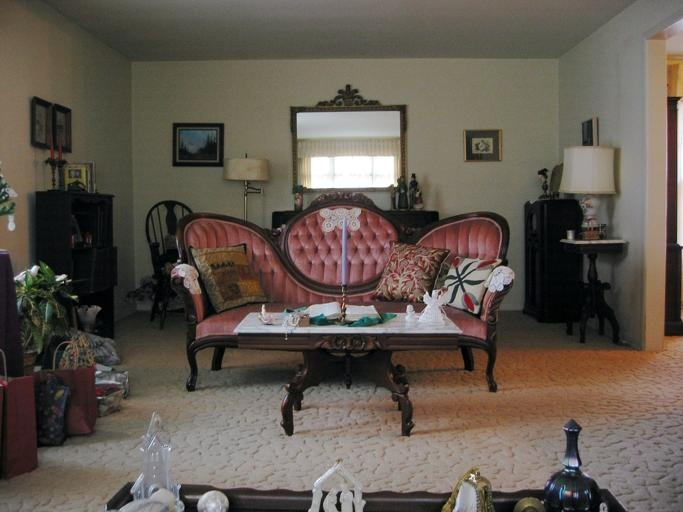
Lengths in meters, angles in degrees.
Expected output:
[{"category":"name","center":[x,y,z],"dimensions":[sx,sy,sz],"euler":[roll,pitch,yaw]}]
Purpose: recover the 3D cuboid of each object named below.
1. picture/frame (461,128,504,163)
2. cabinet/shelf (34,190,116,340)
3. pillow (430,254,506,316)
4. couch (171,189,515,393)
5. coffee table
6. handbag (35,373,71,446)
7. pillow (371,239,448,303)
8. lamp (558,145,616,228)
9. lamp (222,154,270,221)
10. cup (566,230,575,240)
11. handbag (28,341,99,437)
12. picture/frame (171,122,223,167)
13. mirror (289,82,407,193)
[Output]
[{"category":"picture/frame","center":[1.569,-1.245,6.259],"dimensions":[0.367,0.314,0.036],"euler":[0,0,-2]},{"category":"cabinet/shelf","center":[-2.261,-0.130,4.765],"dimensions":[0.432,0.858,0.684],"euler":[-2,8,9]},{"category":"pillow","center":[0.880,0.171,3.969],"dimensions":[0.132,0.409,0.430],"euler":[24,-4,-35]},{"category":"couch","center":[-0.004,0.202,4.142],"dimensions":[2.385,1.308,0.889],"euler":[0,9,-4]},{"category":"coffee table","center":[0.047,0.729,3.522],"dimensions":[1.279,0.607,0.576],"euler":[0,1,-1]},{"category":"handbag","center":[-1.608,0.854,3.147],"dimensions":[0.184,0.381,0.096],"euler":[-4,8,-8]},{"category":"pillow","center":[0.498,0.128,4.217],"dimensions":[0.589,0.618,0.150],"euler":[-20,-40,15]},{"category":"lamp","center":[2.235,-0.627,5.024],"dimensions":[0.547,0.703,0.326],"euler":[-6,8,-21]},{"category":"lamp","center":[-1.016,-0.631,5.992],"dimensions":[0.481,0.782,0.499],"euler":[1,-2,-28]},{"category":"cup","center":[2.107,-0.188,5.129],"dimensions":[0.092,0.092,0.093],"euler":[-1,0,0]},{"category":"handbag","center":[-1.571,0.749,3.222],"dimensions":[0.194,0.520,0.368],"euler":[2,-6,8]},{"category":"picture/frame","center":[-1.594,-1.260,6.273],"dimensions":[0.505,0.439,0.037],"euler":[0,0,-2]},{"category":"mirror","center":[0.090,-1.346,6.239],"dimensions":[1.376,1.264,0.070],"euler":[0,1,-3]}]
